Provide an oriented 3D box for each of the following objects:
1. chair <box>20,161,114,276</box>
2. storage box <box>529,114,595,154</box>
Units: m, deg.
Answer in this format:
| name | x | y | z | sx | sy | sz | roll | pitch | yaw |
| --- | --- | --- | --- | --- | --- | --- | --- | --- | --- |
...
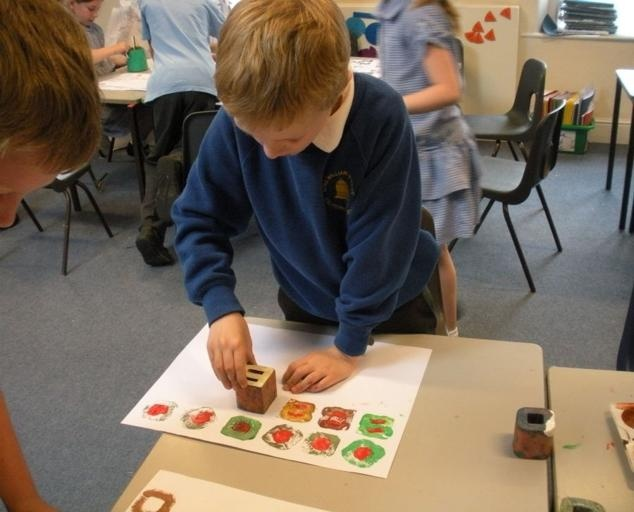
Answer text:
| name | x | y | z | sx | sy | sz | roll | pitch | yaw |
| --- | --- | --- | --- | --- | --- | --- | --- | --- | --- |
| chair | -1.519 | -0.179 | 3.093 | 0.511 | 0.742 | 0.526 | -1 | 34 | -10 |
| storage box | 2.154 | -1.000 | 4.563 | 0.427 | 0.503 | 0.664 | 7 | 26 | 19 |
